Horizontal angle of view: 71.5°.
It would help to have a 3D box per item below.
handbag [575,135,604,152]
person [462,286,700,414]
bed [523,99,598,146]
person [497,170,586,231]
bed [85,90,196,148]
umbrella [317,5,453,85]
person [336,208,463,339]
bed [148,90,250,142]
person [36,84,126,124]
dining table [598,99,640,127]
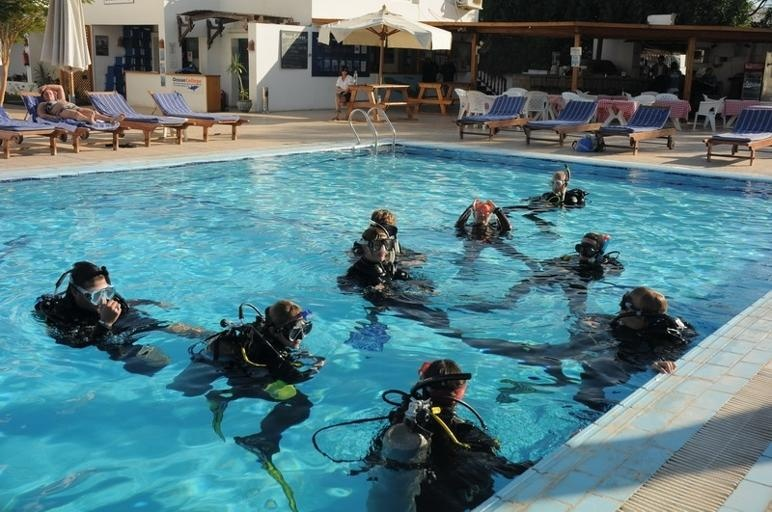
[{"bbox_3d":[5.297,-2.975,14.123,0.562,0.289,0.650,3,10,25],"label":"handbag"},{"bbox_3d":[1.947,0.829,4.861,1.680,0.449,1.337,-14,17,-20],"label":"person"},{"bbox_3d":[5.231,-3.925,15.745,1.883,1.349,3.614,4,12,16],"label":"bed"},{"bbox_3d":[2.787,-1.139,9.529,1.740,0.612,1.034,-5,25,-8],"label":"person"},{"bbox_3d":[-6.601,-3.580,13.718,3.518,1.057,1.364,12,23,21],"label":"bed"},{"bbox_3d":[0.318,-8.128,21.051,4.300,2.817,5.504,1,12,5],"label":"umbrella"},{"bbox_3d":[0.100,0.086,5.832,0.966,1.159,1.233,-4,14,-15],"label":"person"},{"bbox_3d":[-5.425,-3.912,14.939,3.884,1.115,1.535,12,22,26],"label":"bed"},{"bbox_3d":[-6.937,-3.433,12.345,2.205,0.555,0.795,12,16,9],"label":"person"},{"bbox_3d":[7.210,-4.612,16.922,1.635,0.785,1.307,5,19,17],"label":"dining table"}]
